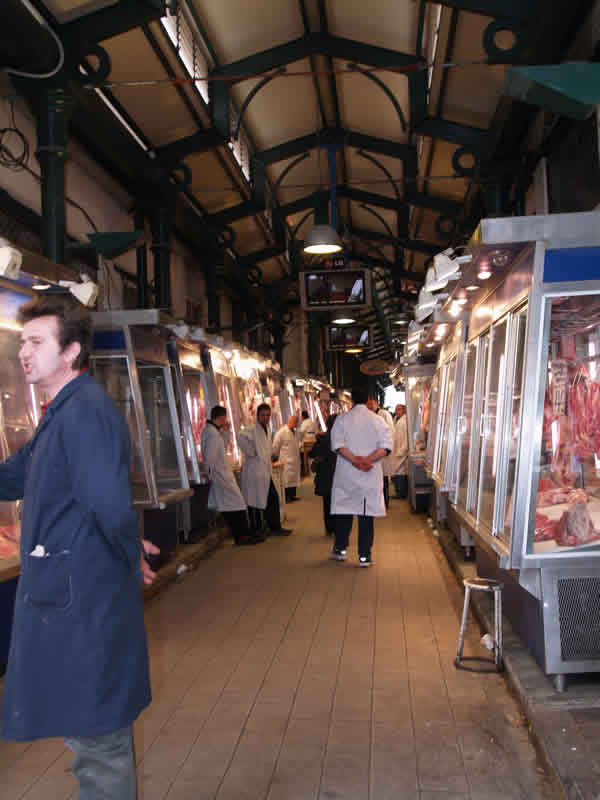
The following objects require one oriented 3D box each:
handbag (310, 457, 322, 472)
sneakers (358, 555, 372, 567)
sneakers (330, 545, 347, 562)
[{"bbox_3d":[0.190,0.902,8.516,0.193,0.194,0.188,4,3,-44],"label":"handbag"},{"bbox_3d":[0.710,1.756,6.670,0.132,0.107,0.172,-2,-5,4],"label":"sneakers"},{"bbox_3d":[0.454,1.771,7.100,0.081,0.161,0.233,2,1,-31],"label":"sneakers"}]
